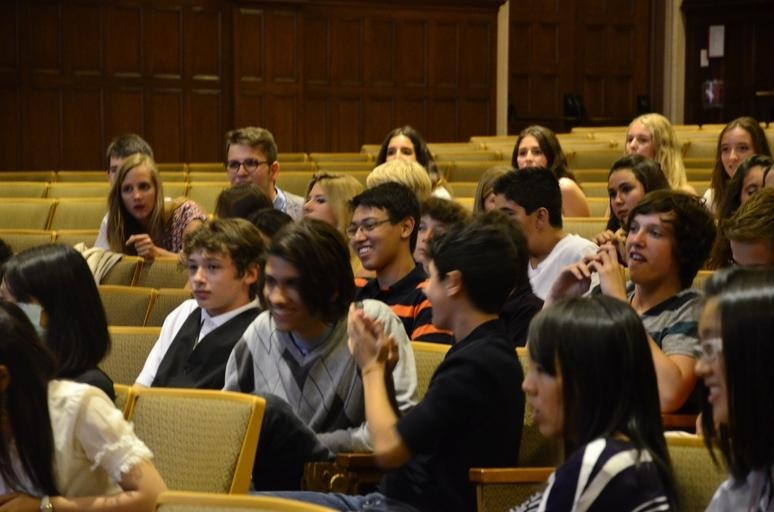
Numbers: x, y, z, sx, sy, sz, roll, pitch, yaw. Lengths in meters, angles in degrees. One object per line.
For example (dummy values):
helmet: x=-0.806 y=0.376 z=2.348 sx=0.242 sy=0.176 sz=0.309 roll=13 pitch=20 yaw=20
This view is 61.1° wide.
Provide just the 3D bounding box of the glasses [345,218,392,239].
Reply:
glasses: x=-0.102 y=-0.124 z=2.873 sx=0.114 sy=0.075 sz=0.227 roll=-5 pitch=3 yaw=-44

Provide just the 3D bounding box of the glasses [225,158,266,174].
glasses: x=-1.056 y=-0.686 z=4.925 sx=0.307 sy=0.098 sz=0.104 roll=-2 pitch=3 yaw=12
